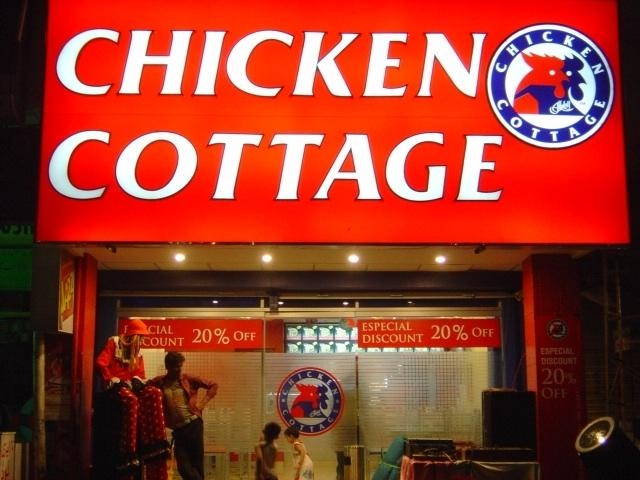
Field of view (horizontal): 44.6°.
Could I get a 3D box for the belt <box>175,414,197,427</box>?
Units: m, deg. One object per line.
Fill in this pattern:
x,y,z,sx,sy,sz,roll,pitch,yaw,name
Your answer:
-1.696,2.315,10.028,0.161,0.040,0.161,-24,-3,-34,belt

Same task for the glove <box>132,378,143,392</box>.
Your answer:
-2.179,1.737,9.377,0.132,0.146,0.127,1,-24,-8,glove
